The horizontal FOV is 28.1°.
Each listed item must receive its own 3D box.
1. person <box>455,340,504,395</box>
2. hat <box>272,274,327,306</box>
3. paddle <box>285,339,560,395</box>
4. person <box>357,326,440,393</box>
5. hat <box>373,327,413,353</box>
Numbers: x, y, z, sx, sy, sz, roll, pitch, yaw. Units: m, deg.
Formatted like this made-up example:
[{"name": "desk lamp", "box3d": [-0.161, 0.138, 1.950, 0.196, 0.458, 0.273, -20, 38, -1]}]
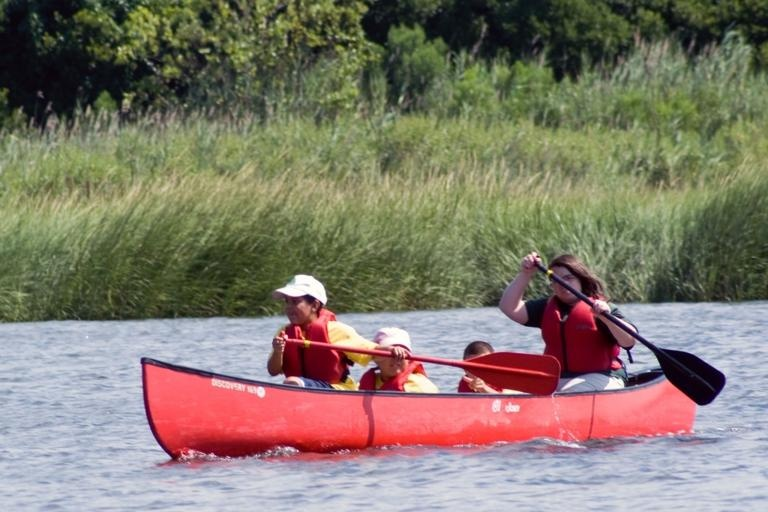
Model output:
[{"name": "person", "box3d": [0.995, 1.371, 19.078, 1.061, 0.460, 0.169, 4, 11, -19]}, {"name": "hat", "box3d": [-1.011, 0.428, 19.013, 0.499, 0.287, 0.376, 16, -11, -19]}, {"name": "paddle", "box3d": [0.423, 1.419, 19.091, 2.986, 0.575, 0.152, 11, -2, -6]}, {"name": "person", "box3d": [0.151, 1.274, 18.996, 0.705, 0.957, 0.873, 0, 2, 44]}, {"name": "hat", "box3d": [0.101, 1.067, 19.042, 0.322, 0.205, 0.525, 2, -1, -10]}]
